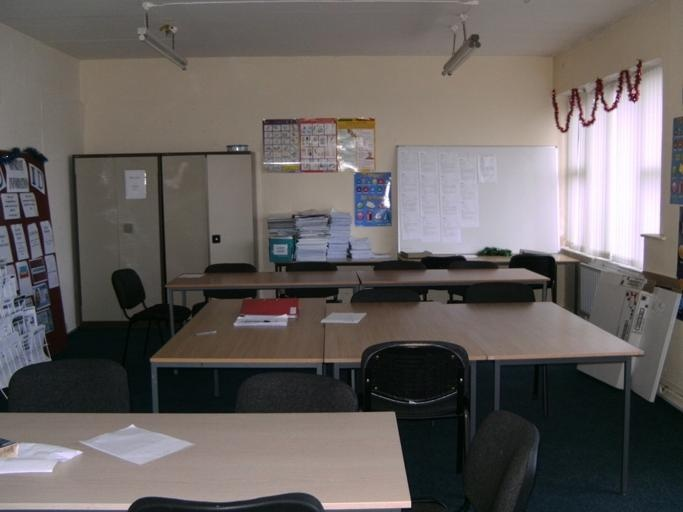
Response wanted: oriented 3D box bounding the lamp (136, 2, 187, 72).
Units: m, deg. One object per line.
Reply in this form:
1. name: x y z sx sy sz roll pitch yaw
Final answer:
1. lamp: -1.718 -2.064 5.257 0.449 0.425 0.812 9 6 12

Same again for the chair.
1. chair: 0.378 0.906 3.738 2.930 0.998 1.067 -1 11 0
